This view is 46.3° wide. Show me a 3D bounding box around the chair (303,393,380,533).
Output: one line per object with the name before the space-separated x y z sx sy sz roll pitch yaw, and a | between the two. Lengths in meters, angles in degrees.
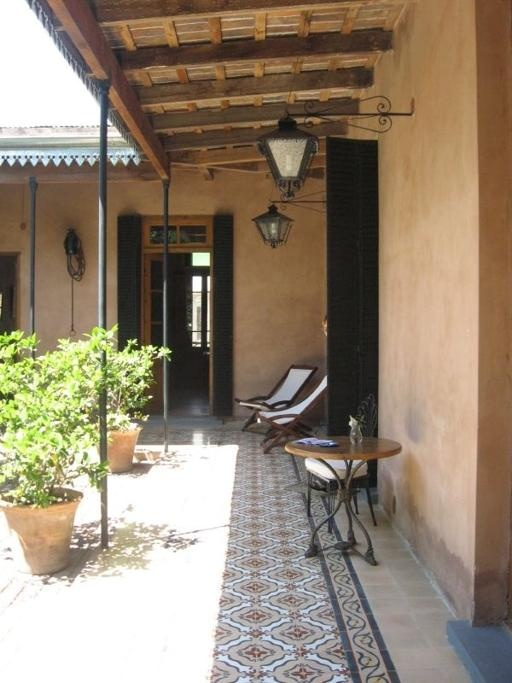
chair | 0.639 0.889 4.228 0.442 0.763 0.417 -3 -5 -11

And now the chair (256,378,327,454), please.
chair | 0.431 0.866 7.126 0.867 0.871 0.597 0 0 -6

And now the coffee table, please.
coffee table | 0.525 0.987 3.673 0.593 0.683 0.589 -1 -2 9
